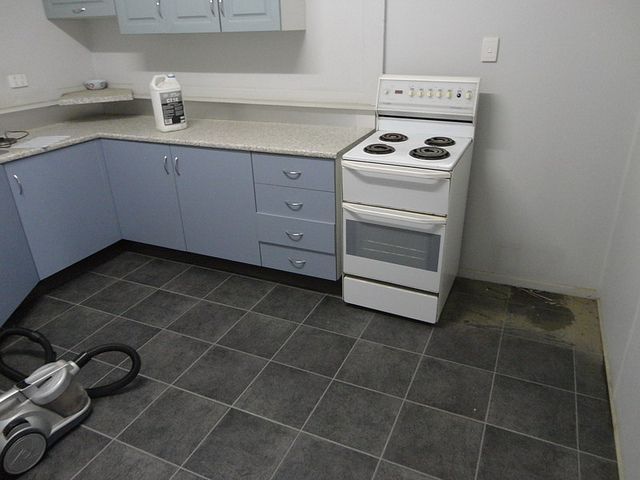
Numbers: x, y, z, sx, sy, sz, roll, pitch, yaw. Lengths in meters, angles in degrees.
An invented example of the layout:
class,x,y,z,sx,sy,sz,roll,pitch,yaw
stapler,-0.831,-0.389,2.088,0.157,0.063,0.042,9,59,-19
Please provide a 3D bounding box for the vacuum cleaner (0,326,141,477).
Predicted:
class,x,y,z,sx,sy,sz,roll,pitch,yaw
vacuum cleaner,-1.273,0.668,2.244,0.555,0.253,0.774,14,23,-11

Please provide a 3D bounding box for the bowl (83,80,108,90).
class,x,y,z,sx,sy,sz,roll,pitch,yaw
bowl,-1.909,-1.305,3.706,0.112,0.040,0.113,-2,27,1

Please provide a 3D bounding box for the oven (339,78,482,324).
class,x,y,z,sx,sy,sz,roll,pitch,yaw
oven,0.555,-0.253,2.788,0.806,1.364,0.745,12,32,21

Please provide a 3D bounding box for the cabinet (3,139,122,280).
class,x,y,z,sx,sy,sz,roll,pitch,yaw
cabinet,-1.858,-0.240,3.089,0.526,0.872,0.642,21,34,25
